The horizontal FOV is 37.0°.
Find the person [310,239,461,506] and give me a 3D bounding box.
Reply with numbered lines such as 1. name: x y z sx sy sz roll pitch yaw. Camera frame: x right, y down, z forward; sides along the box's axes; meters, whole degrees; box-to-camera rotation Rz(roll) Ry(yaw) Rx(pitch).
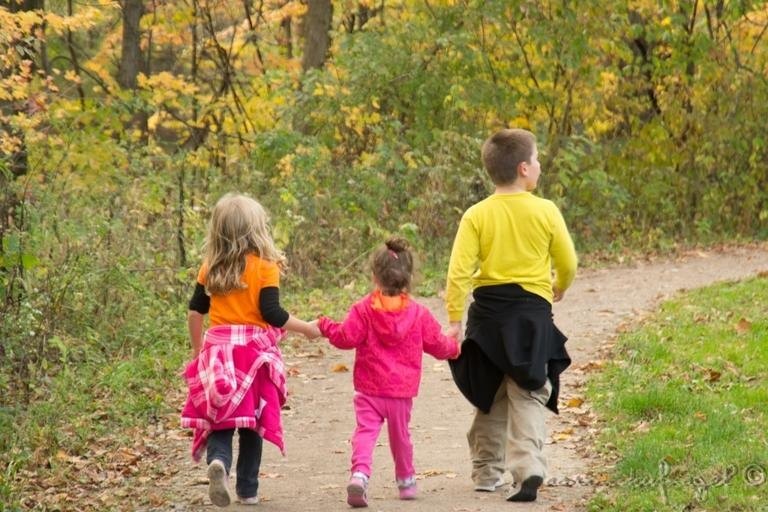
1. person: 0.030 1.158 11.654 1.220 2.700 0.439 -1 2 -22

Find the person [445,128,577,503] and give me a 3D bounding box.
1. person: 1.275 0.565 11.683 1.225 3.754 0.609 0 2 9

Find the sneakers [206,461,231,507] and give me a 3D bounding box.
1. sneakers: -1.627 2.231 11.359 0.192 0.458 0.197 -7 -5 5

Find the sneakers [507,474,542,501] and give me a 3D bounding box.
1. sneakers: 1.409 2.328 11.452 0.177 0.188 0.433 6 -27 -13

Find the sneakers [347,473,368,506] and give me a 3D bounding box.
1. sneakers: -0.258 2.318 11.458 0.152 0.389 0.175 1 41 1

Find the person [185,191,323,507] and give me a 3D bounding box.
1. person: -1.473 0.930 11.563 1.086 3.137 0.648 0 2 -11
